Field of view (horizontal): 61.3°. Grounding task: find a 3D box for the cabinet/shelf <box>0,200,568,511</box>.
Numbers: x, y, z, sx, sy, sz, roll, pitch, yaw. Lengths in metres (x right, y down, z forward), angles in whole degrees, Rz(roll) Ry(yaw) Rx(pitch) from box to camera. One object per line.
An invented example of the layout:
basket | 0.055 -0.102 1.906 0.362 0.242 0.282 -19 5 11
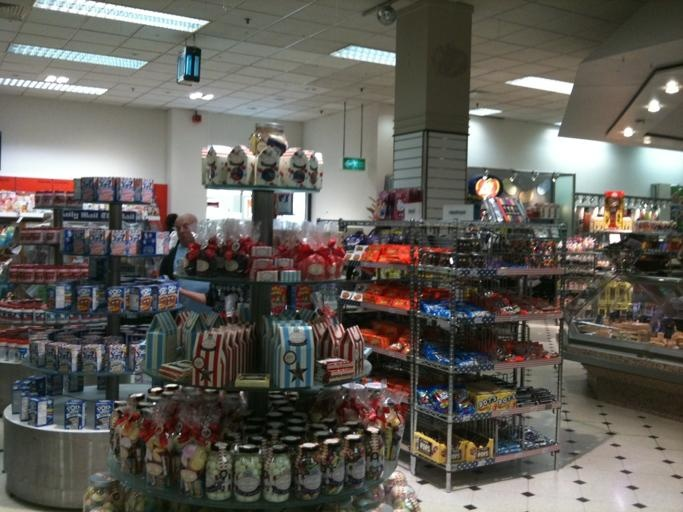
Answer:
cabinet/shelf | -0.428 0.815 4.522 2.965 1.346 1.929 0 -1 -32
